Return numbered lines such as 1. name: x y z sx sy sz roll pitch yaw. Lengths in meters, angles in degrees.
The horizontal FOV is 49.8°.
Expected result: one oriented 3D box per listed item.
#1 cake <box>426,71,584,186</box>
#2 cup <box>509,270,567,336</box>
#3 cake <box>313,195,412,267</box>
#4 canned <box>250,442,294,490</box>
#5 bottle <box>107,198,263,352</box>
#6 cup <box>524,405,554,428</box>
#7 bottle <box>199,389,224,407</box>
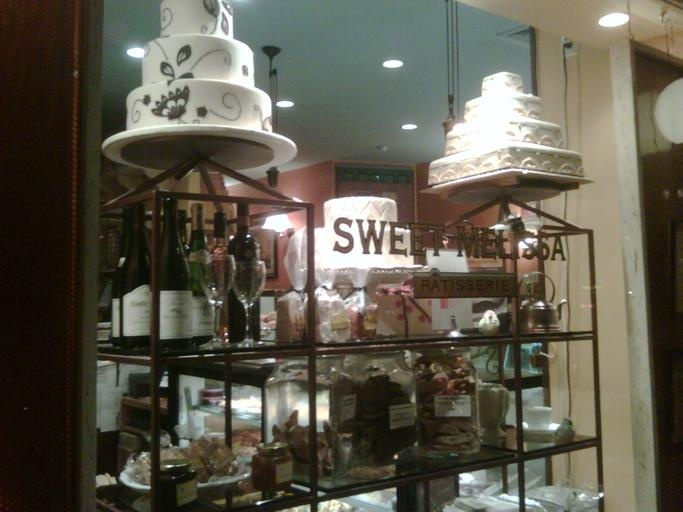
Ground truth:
1. cake: 0.561 -0.361 2.529 0.415 0.346 0.408 0 -2 -36
2. cup: 0.693 0.156 2.538 0.232 0.251 0.162 4 -7 -28
3. cake: 0.080 -0.083 2.291 0.234 0.161 0.240 -1 0 -8
4. canned: -0.179 0.549 1.965 0.105 0.126 0.106 1 -1 -25
5. bottle: -0.387 0.048 1.862 0.367 0.370 0.218 0 -8 -19
6. cup: 0.680 0.556 2.517 0.076 0.051 0.078 -1 -3 0
7. bottle: -0.398 0.436 2.272 0.065 0.037 0.062 -1 -4 0
